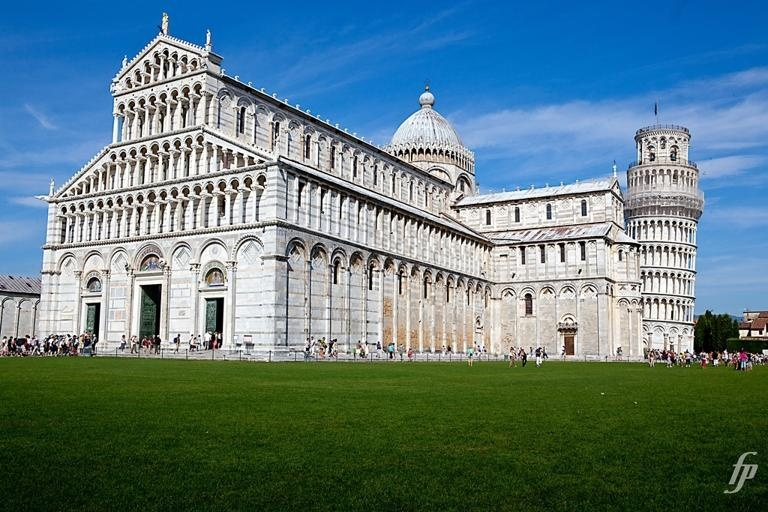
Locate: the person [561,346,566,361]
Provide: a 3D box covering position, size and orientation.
[{"bbox_3d":[20.784,10.845,92.679,0.559,1.457,1.706,-2,-11,11],"label":"person"}]
